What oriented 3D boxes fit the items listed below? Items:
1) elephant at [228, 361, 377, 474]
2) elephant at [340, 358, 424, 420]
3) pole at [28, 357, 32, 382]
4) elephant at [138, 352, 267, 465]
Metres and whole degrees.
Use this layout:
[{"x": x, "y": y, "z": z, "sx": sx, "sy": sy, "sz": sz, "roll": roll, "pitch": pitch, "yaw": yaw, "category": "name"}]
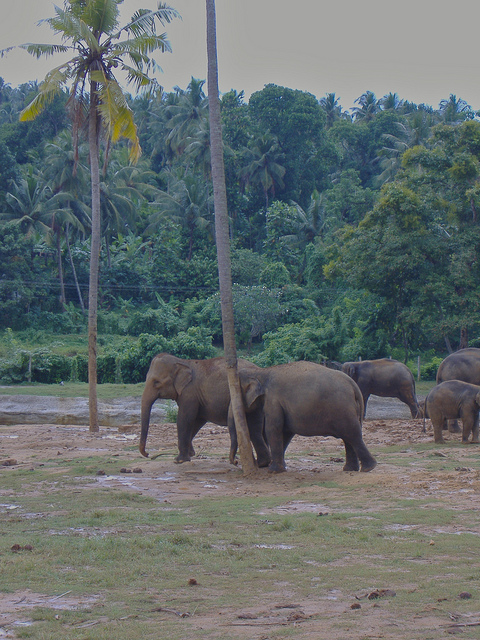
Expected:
[{"x": 0.885, "y": 1.380, "z": 18.705, "sx": 2.178, "sy": 1.665, "sz": 1.075, "roll": -1, "pitch": 5, "yaw": 24, "category": "elephant"}, {"x": 2.686, "y": 1.398, "z": 26.346, "sx": 2.107, "sy": 1.328, "sz": 0.641, "roll": 1, "pitch": 11, "yaw": 13, "category": "elephant"}, {"x": -6.327, "y": 1.506, "z": 39.439, "sx": 0.101, "sy": 0.746, "sz": 0.435, "roll": -1, "pitch": -3, "yaw": -5, "category": "pole"}, {"x": -0.591, "y": 1.364, "z": 20.190, "sx": 1.874, "sy": 1.689, "sz": 0.813, "roll": 2, "pitch": 4, "yaw": 6, "category": "elephant"}]
